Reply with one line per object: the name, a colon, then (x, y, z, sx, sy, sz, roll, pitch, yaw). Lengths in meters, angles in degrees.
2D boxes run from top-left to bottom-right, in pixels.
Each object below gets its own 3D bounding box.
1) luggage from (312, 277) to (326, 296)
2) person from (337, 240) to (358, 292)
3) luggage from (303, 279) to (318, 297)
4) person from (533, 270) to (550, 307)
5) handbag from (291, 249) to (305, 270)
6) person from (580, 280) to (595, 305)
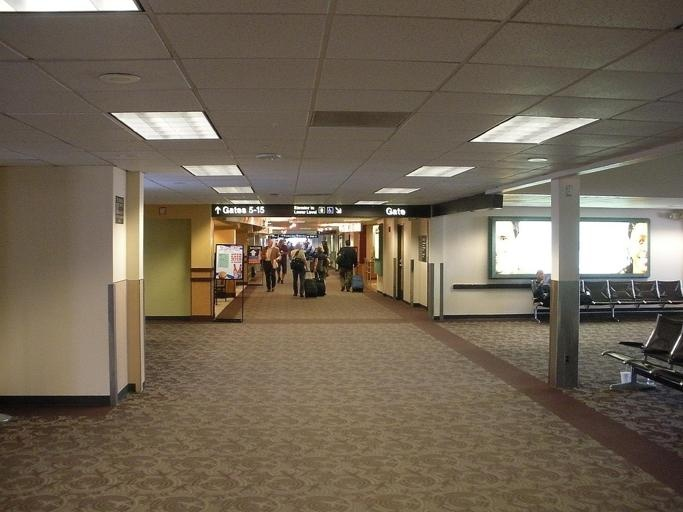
luggage: (-0.862, 1.242, 18.839, 0.773, 0.597, 0.589, 2, -4, -4)
person: (0.249, 0.428, 21.045, 0.823, 2.228, 0.880, 0, 4, -1)
luggage: (-1.206, 1.037, 18.538, 0.628, 0.632, 1.096, -2, 10, -5)
person: (5.611, 0.901, 13.205, 0.383, 1.006, 0.486, 2, 4, 24)
handbag: (-1.769, 0.137, 19.506, 0.581, 0.825, 0.743, -1, 4, -6)
person: (7.010, 1.044, 13.409, 0.327, 0.641, 0.868, 2, 4, 29)
